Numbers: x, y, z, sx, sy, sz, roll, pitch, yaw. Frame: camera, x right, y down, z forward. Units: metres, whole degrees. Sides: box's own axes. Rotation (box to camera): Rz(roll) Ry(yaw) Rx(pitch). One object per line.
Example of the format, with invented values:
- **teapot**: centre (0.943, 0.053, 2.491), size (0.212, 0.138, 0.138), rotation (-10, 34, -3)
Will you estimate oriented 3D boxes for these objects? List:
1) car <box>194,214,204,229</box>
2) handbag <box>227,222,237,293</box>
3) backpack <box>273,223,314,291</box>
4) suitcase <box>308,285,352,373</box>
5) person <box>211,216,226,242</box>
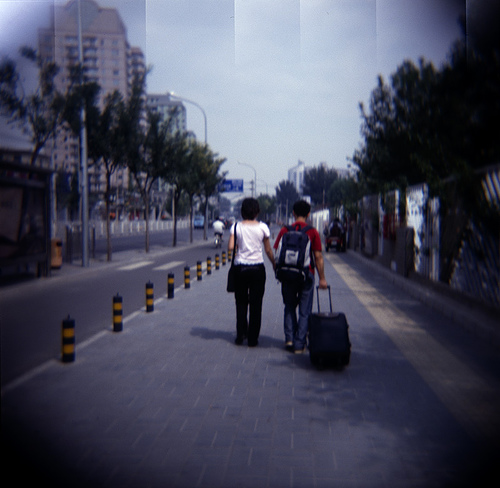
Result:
- **car**: centre (-8.025, -3.335, 77.891), size (1.297, 1.886, 3.584), rotation (0, 2, -14)
- **handbag**: centre (-0.230, 0.179, 6.354), size (0.122, 0.887, 0.280), rotation (0, 1, -4)
- **backpack**: centre (0.551, 0.211, 6.143), size (0.364, 1.054, 0.508), rotation (4, -21, 8)
- **suitcase**: centre (0.898, 0.904, 5.722), size (0.301, 1.356, 0.384), rotation (1, -38, 2)
- **person**: centre (-1.815, -0.873, 28.547), size (0.533, 1.237, 1.436), rotation (0, 9, 2)
